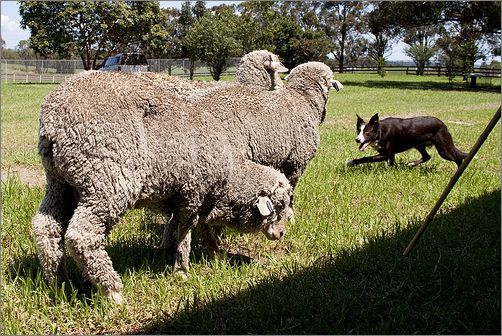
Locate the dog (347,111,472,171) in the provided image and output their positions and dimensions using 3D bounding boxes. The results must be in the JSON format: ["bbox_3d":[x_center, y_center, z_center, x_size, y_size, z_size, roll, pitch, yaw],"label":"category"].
[{"bbox_3d":[3.625,-0.576,11.110,3.187,1.428,0.709,-3,12,-13],"label":"dog"}]
